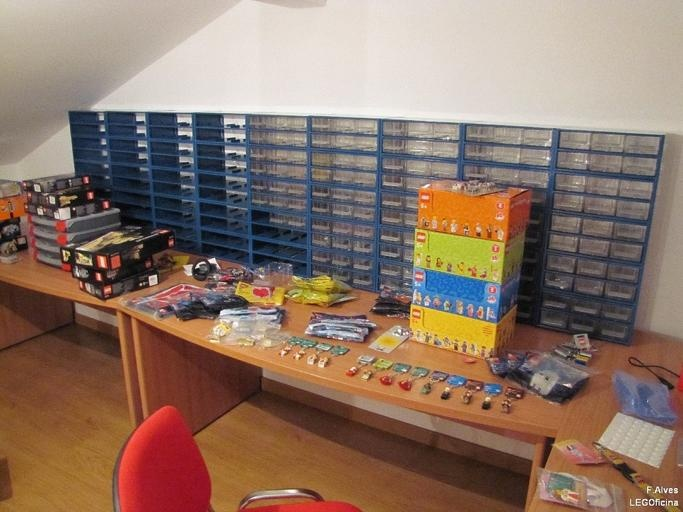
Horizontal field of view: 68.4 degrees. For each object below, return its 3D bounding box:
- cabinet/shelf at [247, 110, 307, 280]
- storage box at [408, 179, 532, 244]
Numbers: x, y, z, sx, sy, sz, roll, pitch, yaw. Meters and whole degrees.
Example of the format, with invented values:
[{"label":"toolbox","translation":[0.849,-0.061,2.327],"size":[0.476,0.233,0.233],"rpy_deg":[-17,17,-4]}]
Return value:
[{"label":"cabinet/shelf","translation":[-0.374,-0.369,3.065],"size":[0.479,0.943,0.173],"rpy_deg":[9,22,21]},{"label":"storage box","translation":[0.604,-0.224,2.309],"size":[0.417,0.236,0.293],"rpy_deg":[10,20,30]}]
